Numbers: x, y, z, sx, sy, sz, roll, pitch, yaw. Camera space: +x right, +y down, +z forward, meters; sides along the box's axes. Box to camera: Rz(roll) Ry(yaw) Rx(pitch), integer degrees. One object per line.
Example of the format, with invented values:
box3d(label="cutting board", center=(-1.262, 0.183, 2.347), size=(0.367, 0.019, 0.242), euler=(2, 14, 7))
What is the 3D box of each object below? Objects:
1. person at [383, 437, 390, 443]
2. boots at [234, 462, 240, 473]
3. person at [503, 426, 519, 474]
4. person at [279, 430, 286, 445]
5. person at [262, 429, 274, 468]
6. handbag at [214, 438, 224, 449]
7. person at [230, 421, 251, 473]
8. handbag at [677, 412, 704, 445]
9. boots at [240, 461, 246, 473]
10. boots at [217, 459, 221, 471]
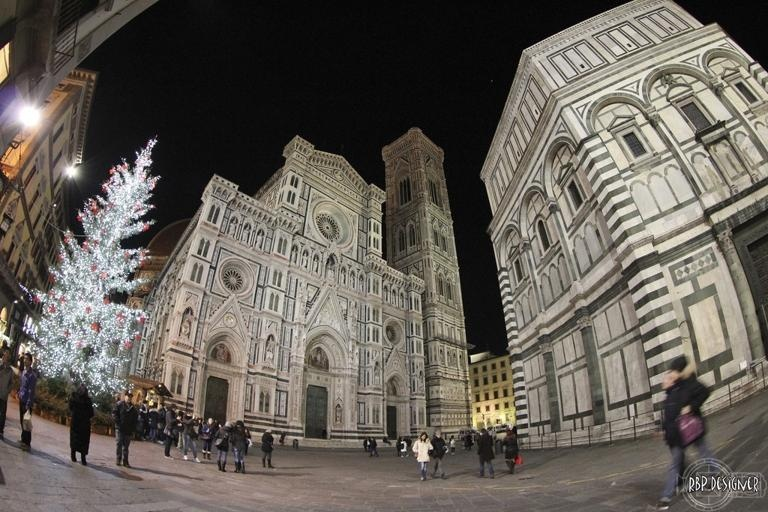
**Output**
box3d(label="person", center=(0.187, 16.925, 36.253), size=(0.629, 0.637, 0.942), euler=(0, -27, 1))
box3d(label="boots", center=(-5.683, 8.218, 15.298), size=(0.252, 0.354, 0.587), euler=(8, -28, -16))
box3d(label="person", center=(5.055, 7.693, 15.602), size=(0.479, 1.623, 1.333), euler=(-7, -27, 14))
box3d(label="person", center=(-7.581, 13.688, 29.488), size=(0.530, 0.983, 1.494), euler=(7, -27, -13))
box3d(label="person", center=(-5.404, 8.988, 18.298), size=(0.580, 1.511, 2.945), euler=(7, -27, -13))
box3d(label="handbag", center=(-6.420, 7.295, 15.301), size=(0.359, 0.294, 0.283), euler=(-4, -8, 11))
box3d(label="person", center=(-5.737, 7.552, 15.555), size=(0.751, 1.830, 0.729), euler=(16, -32, -42))
box3d(label="handbag", center=(6.607, 3.705, 8.416), size=(0.505, 0.611, 0.184), euler=(-3, -27, 6))
box3d(label="boots", center=(-5.501, 8.224, 15.299), size=(0.202, 0.361, 0.314), euler=(8, -28, -16))
box3d(label="boots", center=(-6.316, 8.087, 15.152), size=(0.124, 0.302, 0.464), euler=(13, -29, -24))
